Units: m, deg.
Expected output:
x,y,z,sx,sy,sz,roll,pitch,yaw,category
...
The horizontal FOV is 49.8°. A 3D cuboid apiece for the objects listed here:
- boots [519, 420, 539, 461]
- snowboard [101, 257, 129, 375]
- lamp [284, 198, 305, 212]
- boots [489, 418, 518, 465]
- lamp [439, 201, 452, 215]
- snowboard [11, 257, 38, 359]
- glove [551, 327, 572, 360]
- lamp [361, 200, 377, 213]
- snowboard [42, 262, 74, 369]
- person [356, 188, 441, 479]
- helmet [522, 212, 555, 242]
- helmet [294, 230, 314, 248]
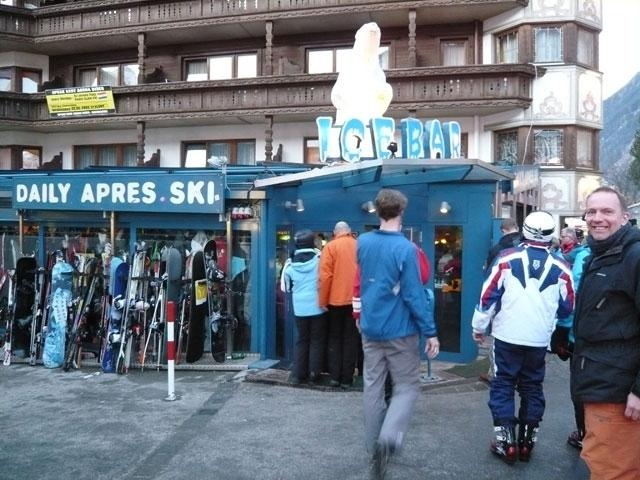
x,y,z,sx,sy,sz,roll,pitch,yaw,category
2.759,2.607,9.004,0.185,0.401,0.577,0,14,12,boots
-3.603,1.321,12.224,0.442,2.009,0.295,1,-10,17,snowboard
-0.485,-0.605,12.418,0.354,0.256,0.220,0,14,3,lamp
2.405,2.600,9.143,0.259,0.551,0.553,-5,5,-8,boots
2.207,-0.568,12.322,0.151,0.158,0.207,2,-22,25,lamp
-5.447,1.245,12.689,0.409,1.840,0.257,4,-12,-10,snowboard
3.246,1.397,9.384,0.293,0.422,0.185,-9,-10,38,glove
0.864,-0.586,12.492,0.190,0.165,0.218,-1,-35,-9,lamp
-4.710,1.405,12.427,0.455,2.070,0.297,2,-2,-1,snowboard
0.923,1.180,8.838,1.009,3.451,1.323,-1,14,3,person
2.829,-0.148,9.029,0.322,0.374,0.426,6,42,12,helmet
-0.280,-0.026,11.394,0.227,0.320,0.302,1,16,-8,helmet
